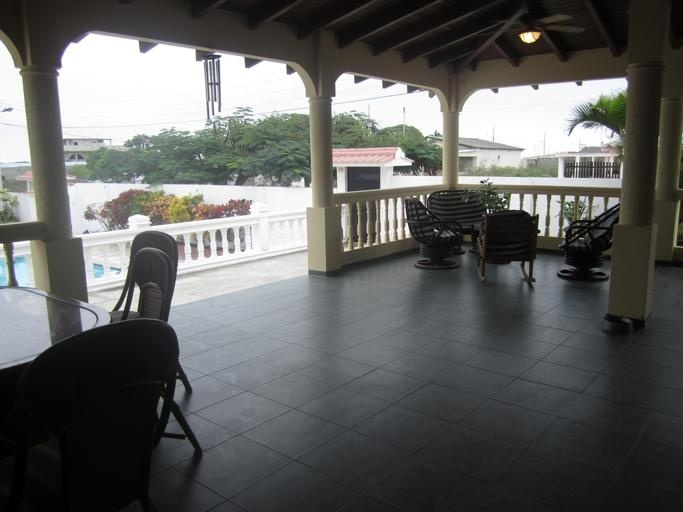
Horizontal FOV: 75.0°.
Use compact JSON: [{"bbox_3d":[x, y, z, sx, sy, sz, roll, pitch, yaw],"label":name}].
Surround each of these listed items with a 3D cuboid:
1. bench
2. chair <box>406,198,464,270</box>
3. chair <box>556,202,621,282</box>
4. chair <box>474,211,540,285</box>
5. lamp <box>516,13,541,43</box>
[{"bbox_3d":[2.142,-0.793,8.403,1.241,1.236,1.445,4,-10,19],"label":"bench"},{"bbox_3d":[1.512,-0.438,7.434,0.877,1.233,0.759,-7,17,-12],"label":"chair"},{"bbox_3d":[3.642,-0.218,6.563,0.689,1.053,0.872,9,16,39],"label":"chair"},{"bbox_3d":[2.397,-0.188,6.443,0.705,1.079,1.215,0,22,6],"label":"chair"},{"bbox_3d":[2.595,-3.132,6.081,0.247,0.319,0.300,-4,12,-13],"label":"lamp"}]
